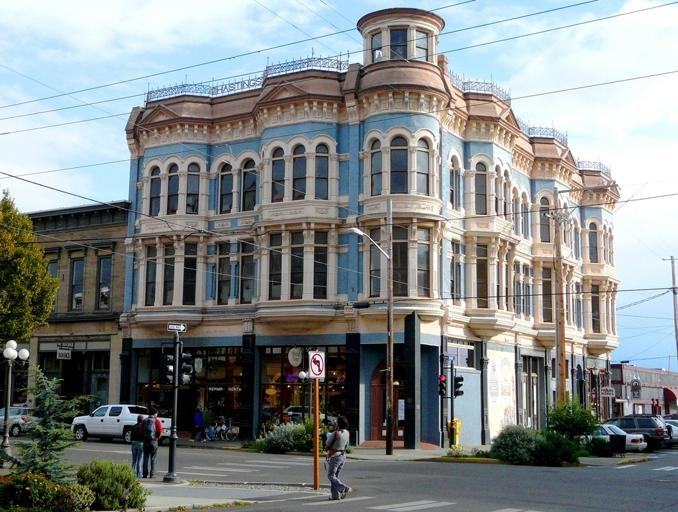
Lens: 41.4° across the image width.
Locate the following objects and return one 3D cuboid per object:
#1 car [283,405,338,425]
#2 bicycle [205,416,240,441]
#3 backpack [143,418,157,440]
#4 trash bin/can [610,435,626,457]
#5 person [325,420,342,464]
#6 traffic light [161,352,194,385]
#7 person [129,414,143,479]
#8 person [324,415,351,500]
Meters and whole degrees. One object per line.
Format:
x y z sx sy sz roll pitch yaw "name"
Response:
-1.606 8.192 45.913 2.436 0.947 1.085 -4 -8 14 "car"
-6.092 9.230 47.571 1.924 1.067 0.920 -2 -16 14 "bicycle"
-6.385 5.833 30.397 0.389 0.756 0.469 2 -16 -9 "backpack"
12.566 8.497 40.358 0.608 0.951 0.571 -7 -17 22 "trash bin/can"
-0.235 5.664 27.259 0.453 1.140 0.878 3 -10 6 "person"
-5.389 3.730 30.169 0.875 1.146 1.521 0 -15 -2 "traffic light"
-6.819 6.456 30.463 0.411 2.114 0.852 3 -16 -12 "person"
-0.028 6.037 27.029 0.698 2.459 0.956 0 -16 -1 "person"
